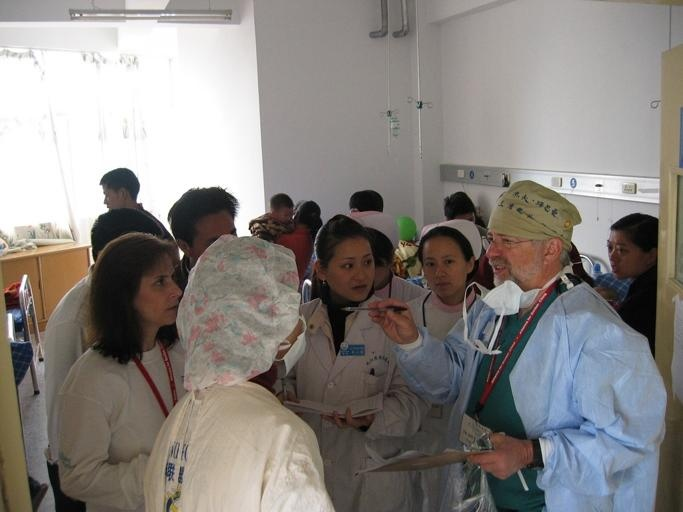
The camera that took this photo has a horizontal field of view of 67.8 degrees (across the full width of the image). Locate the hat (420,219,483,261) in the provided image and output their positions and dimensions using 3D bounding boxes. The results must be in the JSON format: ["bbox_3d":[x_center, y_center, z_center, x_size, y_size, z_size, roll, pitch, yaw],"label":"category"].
[{"bbox_3d":[0.571,-0.115,2.555,0.224,0.203,0.302,-5,15,-27],"label":"hat"}]

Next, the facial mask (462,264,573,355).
[{"bbox_3d":[0.563,0.141,1.725,0.262,0.346,0.299,-5,14,-32],"label":"facial mask"}]
